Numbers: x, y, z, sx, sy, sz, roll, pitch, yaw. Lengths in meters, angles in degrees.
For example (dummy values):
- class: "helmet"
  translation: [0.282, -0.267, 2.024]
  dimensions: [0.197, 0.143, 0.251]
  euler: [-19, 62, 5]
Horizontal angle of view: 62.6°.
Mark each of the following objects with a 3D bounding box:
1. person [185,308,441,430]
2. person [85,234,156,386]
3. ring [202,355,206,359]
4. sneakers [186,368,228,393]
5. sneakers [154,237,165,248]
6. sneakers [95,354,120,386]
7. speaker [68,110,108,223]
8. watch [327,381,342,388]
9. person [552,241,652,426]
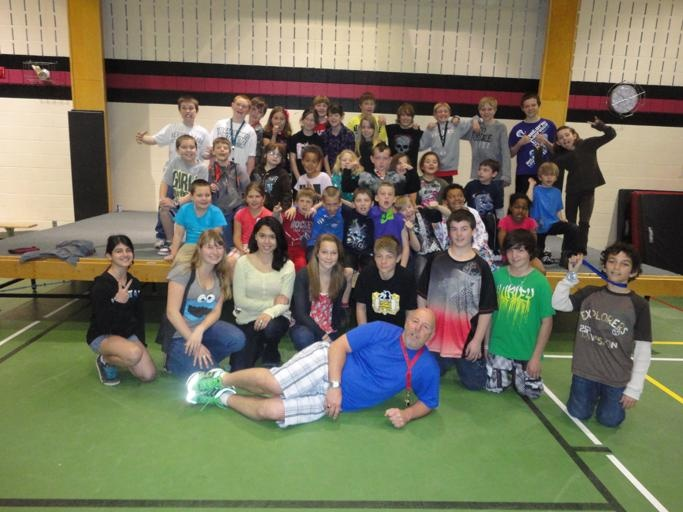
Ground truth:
- class: "person"
  translation: [-0.149, 1.197, 5.083]
  dimensions: [1.791, 0.695, 1.121]
  euler: [-20, 42, -24]
- class: "person"
  translation: [-2.209, 0.532, 5.532]
  dimensions: [0.587, 1.444, 0.550]
  euler: [-7, 16, -25]
- class: "ring"
  translation: [-1.341, 0.973, 5.466]
  dimensions: [0.034, 0.025, 0.009]
  euler: [23, -18, 3]
- class: "sneakers"
  translation: [-1.272, 1.165, 5.306]
  dimensions: [0.370, 0.173, 0.160]
  euler: [-6, 7, 7]
- class: "sneakers"
  translation: [-2.276, -0.169, 7.052]
  dimensions: [0.099, 0.123, 0.290]
  euler: [-1, -5, -11]
- class: "sneakers"
  translation: [-2.316, 1.156, 5.650]
  dimensions: [0.153, 0.360, 0.165]
  euler: [-22, 2, 14]
- class: "speaker"
  translation: [-4.503, -1.609, 10.010]
  dimensions: [0.640, 1.914, 0.202]
  euler: [0, 14, 0]
- class: "watch"
  translation: [-0.067, 1.138, 5.013]
  dimensions: [0.078, 0.051, 0.075]
  euler: [-3, -10, 15]
- class: "person"
  translation: [2.481, 0.728, 5.333]
  dimensions: [0.824, 1.679, 0.530]
  euler: [8, 17, 29]
